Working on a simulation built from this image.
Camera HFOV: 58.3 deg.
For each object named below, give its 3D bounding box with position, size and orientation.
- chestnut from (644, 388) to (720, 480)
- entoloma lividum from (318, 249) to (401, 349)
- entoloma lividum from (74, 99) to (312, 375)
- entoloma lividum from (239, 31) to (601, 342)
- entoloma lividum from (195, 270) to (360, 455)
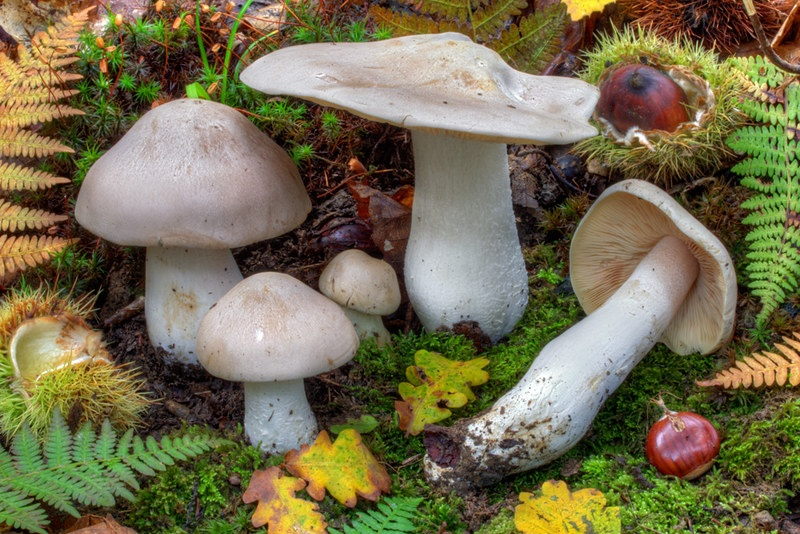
[{"bbox_3d":[1.757,1.075,4.576,0.347,0.435,0.224,-37,-7,6],"label":"chestnut"},{"bbox_3d":[-0.220,0.177,5.356,0.629,0.765,0.597,0,18,3],"label":"entoloma lividum"},{"bbox_3d":[-1.085,-0.352,5.393,1.677,1.923,1.641,3,18,12],"label":"entoloma lividum"},{"bbox_3d":[0.290,-0.490,4.973,2.056,1.766,2.066,-14,22,-34],"label":"entoloma lividum"},{"bbox_3d":[-0.832,0.634,4.666,0.774,0.882,0.742,-20,32,-27],"label":"entoloma lividum"}]
